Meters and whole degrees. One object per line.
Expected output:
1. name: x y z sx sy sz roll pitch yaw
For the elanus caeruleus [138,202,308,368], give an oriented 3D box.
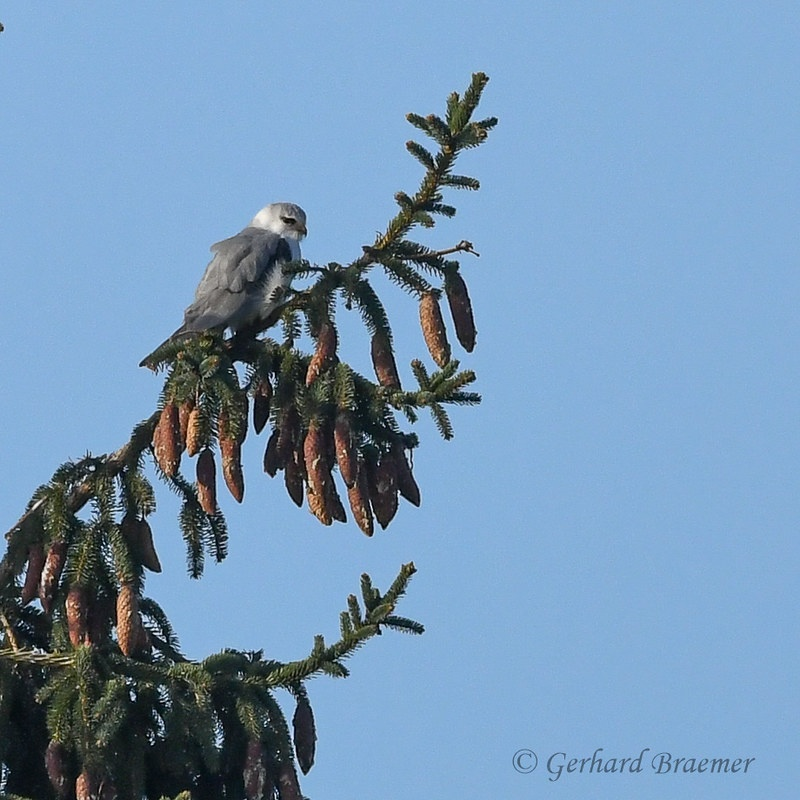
1. elanus caeruleus: -1.103 -0.719 14.980 1.040 1.201 0.609 1 -20 -12
